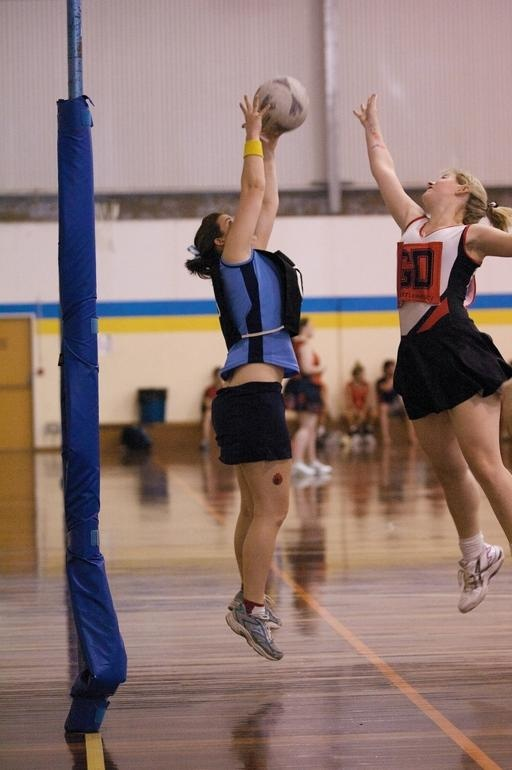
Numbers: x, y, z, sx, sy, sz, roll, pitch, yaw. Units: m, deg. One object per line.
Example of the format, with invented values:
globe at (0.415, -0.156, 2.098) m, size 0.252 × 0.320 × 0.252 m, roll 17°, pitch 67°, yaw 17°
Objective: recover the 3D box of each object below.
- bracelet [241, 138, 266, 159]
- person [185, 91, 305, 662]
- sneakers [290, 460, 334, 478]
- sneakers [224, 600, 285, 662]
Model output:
bracelet at (-0.007, -0.758, 3.542) m, size 0.076 × 0.054 × 0.072 m, roll 1°, pitch -9°, yaw -1°
person at (-0.015, -0.052, 3.625) m, size 0.369 × 1.890 × 0.515 m, roll -2°, pitch 2°, yaw -10°
sneakers at (0.484, 0.698, 9.324) m, size 0.385 × 0.148 × 0.124 m, roll -1°, pitch 6°, yaw -15°
sneakers at (-0.009, 0.805, 3.599) m, size 0.107 × 0.219 × 0.078 m, roll -46°, pitch -7°, yaw 26°
